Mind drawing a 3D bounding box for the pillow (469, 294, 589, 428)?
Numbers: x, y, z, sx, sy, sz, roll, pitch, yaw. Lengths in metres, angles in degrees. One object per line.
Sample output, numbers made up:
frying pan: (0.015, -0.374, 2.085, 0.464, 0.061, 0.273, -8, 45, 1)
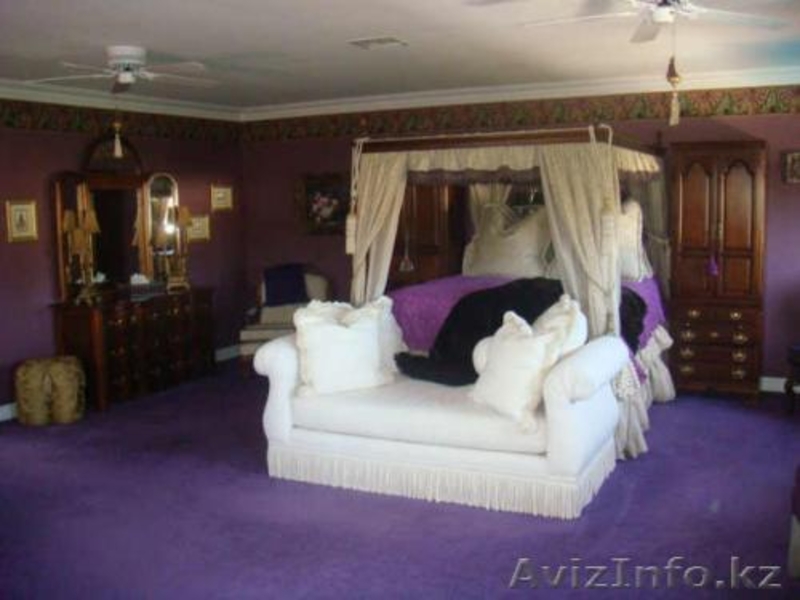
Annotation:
pillow: (0.956, 0.407, 4.728, 0.274, 0.952, 0.890, 27, -3, -32)

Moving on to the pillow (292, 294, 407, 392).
pillow: (-0.440, 0.407, 5.262, 0.747, 0.794, 0.256, -4, -6, -27)

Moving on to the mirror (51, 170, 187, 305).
mirror: (-3.366, -0.719, 7.434, 0.197, 1.454, 1.544, 0, 3, 33)

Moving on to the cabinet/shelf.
cabinet/shelf: (3.408, -0.300, 6.856, 0.993, 2.781, 0.375, 3, 12, 19)

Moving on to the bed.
bed: (1.525, 0.160, 6.477, 2.005, 2.136, 2.820, -2, -4, 31)

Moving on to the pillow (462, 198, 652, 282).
pillow: (1.542, -0.546, 6.587, 1.173, 0.398, 1.127, 0, -8, -16)

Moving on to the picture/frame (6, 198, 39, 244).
picture/frame: (-4.056, -0.854, 6.761, 0.041, 0.583, 0.439, 2, 6, 36)

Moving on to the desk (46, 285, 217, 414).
desk: (-3.053, 0.499, 7.654, 0.650, 1.170, 1.741, 6, 12, 27)
